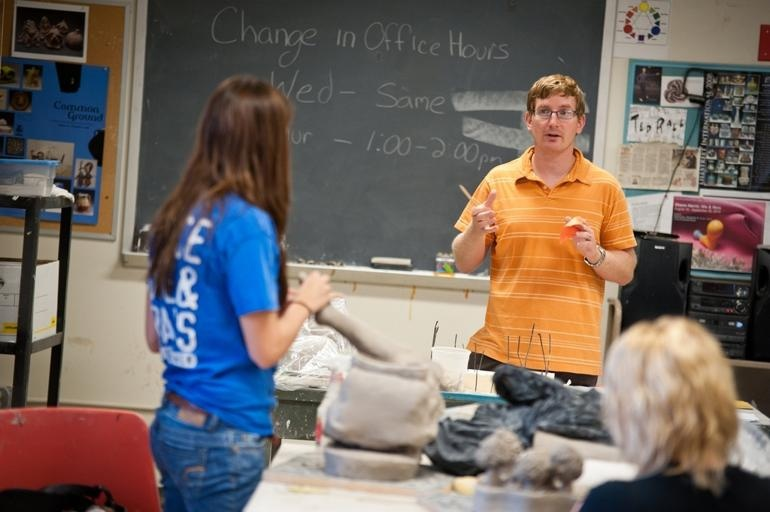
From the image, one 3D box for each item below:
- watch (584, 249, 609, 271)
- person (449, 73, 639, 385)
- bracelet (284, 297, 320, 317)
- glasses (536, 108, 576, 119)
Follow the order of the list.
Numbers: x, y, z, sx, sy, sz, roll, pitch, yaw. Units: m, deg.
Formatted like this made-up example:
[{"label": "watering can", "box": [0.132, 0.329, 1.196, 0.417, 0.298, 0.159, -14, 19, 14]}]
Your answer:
[{"label": "watch", "box": [0.907, 0.022, 2.823, 0.040, 0.074, 0.098, 30, 30, 31]}, {"label": "person", "box": [0.713, -0.122, 2.903, 0.799, 1.332, 0.319, 4, 4, 5]}, {"label": "bracelet", "box": [-0.251, 0.156, 2.072, 0.069, 0.018, 0.074, 17, 2, 24]}, {"label": "glasses", "box": [0.745, -0.605, 2.880, 0.168, 0.047, 0.041, 5, 4, 8]}]
